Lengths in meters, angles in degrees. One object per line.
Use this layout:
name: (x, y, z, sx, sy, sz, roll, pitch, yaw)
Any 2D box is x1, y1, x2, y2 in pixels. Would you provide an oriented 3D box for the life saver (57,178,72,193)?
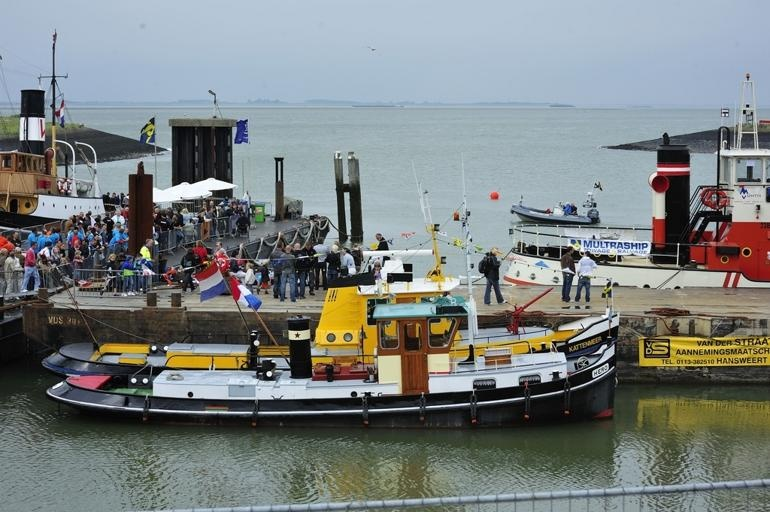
life saver: (-15.551, -3.365, 67.817, 0.497, 0.636, 1.479, -2, 1, -15)

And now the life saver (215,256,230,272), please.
life saver: (-5.972, 0.333, 50.877, 0.441, 0.542, 0.514, 7, 24, 42)

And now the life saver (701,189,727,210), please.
life saver: (13.284, -2.320, 56.263, 0.923, 0.855, 0.345, 5, 13, 10)

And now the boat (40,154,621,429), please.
boat: (-1.990, 2.953, 49.988, 20.621, 5.930, 4.359, -2, 8, 2)

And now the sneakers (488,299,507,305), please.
sneakers: (4.324, 1.778, 53.375, 0.677, 0.268, 0.217, 4, -4, -16)
